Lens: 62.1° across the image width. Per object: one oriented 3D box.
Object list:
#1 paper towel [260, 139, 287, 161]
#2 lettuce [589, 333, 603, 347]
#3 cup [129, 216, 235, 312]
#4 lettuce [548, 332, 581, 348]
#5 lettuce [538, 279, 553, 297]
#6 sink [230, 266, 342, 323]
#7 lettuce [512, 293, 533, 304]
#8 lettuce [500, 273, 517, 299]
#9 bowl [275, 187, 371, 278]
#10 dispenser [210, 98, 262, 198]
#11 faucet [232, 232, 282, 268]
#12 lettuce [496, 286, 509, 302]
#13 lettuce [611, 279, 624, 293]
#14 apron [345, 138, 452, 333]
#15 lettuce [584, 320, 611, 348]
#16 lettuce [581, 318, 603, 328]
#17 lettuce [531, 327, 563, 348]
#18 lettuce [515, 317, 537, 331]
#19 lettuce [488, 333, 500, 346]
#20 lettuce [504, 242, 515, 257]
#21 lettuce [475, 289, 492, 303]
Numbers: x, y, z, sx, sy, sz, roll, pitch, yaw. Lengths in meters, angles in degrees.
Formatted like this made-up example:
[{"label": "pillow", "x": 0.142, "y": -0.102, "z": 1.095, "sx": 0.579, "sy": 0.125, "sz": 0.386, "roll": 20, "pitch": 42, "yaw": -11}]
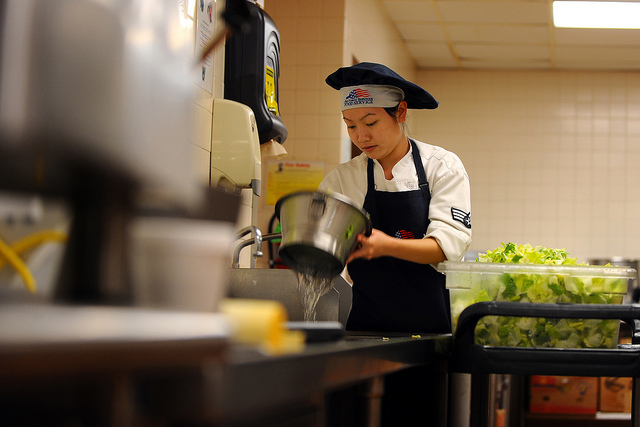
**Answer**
[{"label": "paper towel", "x": -0.226, "y": -0.310, "z": 2.576, "sx": 0.106, "sy": 0.081, "sz": 0.064, "roll": 1, "pitch": -3, "yaw": 0}, {"label": "lettuce", "x": 0.654, "y": 0.299, "z": 1.257, "sx": 0.026, "sy": 0.027, "sz": 0.033, "roll": 4, "pitch": -14, "yaw": 3}, {"label": "cup", "x": -0.109, "y": 0.033, "z": 0.397, "sx": 0.068, "sy": 0.090, "sz": 0.080, "roll": 6, "pitch": -7, "yaw": -6}, {"label": "lettuce", "x": 0.584, "y": 0.295, "z": 1.257, "sx": 0.052, "sy": 0.026, "sz": 0.038, "roll": -6, "pitch": -7, "yaw": 0}, {"label": "lettuce", "x": 0.540, "y": 0.177, "z": 1.283, "sx": 0.032, "sy": 0.014, "sz": 0.036, "roll": 49, "pitch": 2, "yaw": -34}, {"label": "sink", "x": -0.068, "y": 0.194, "z": 1.301, "sx": 0.279, "sy": 0.193, "sz": 0.146, "roll": 0, "pitch": 0, "yaw": 41}, {"label": "lettuce", "x": 0.496, "y": 0.207, "z": 1.290, "sx": 0.027, "sy": 0.027, "sz": 0.034, "roll": -1, "pitch": 5, "yaw": 2}, {"label": "lettuce", "x": 0.463, "y": 0.176, "z": 1.297, "sx": 0.052, "sy": 0.022, "sz": 0.045, "roll": 28, "pitch": -25, "yaw": 50}, {"label": "bowl", "x": 0.001, "y": 0.054, "z": 1.291, "sx": 0.236, "sy": 0.189, "sz": 0.188, "roll": 5, "pitch": -1, "yaw": 7}, {"label": "dispenser", "x": -0.356, "y": -0.326, "z": 2.281, "sx": 0.229, "sy": 0.443, "sz": 0.207, "roll": 8, "pitch": 30, "yaw": 3}, {"label": "faucet", "x": -0.246, "y": 0.130, "z": 1.789, "sx": 0.035, "sy": 0.087, "sz": 0.167, "roll": 4, "pitch": 3, "yaw": 22}, {"label": "lettuce", "x": 0.449, "y": 0.201, "z": 1.305, "sx": 0.032, "sy": 0.030, "sz": 0.028, "roll": -2, "pitch": -6, "yaw": 12}, {"label": "lettuce", "x": 0.715, "y": 0.173, "z": 1.273, "sx": 0.025, "sy": 0.029, "sz": 0.032, "roll": -2, "pitch": -15, "yaw": 7}, {"label": "apron", "x": 0.303, "y": 0.068, "z": 1.863, "sx": 0.383, "sy": 0.571, "sz": 0.243, "roll": 5, "pitch": -1, "yaw": 2}, {"label": "lettuce", "x": 0.654, "y": 0.277, "z": 1.264, "sx": 0.035, "sy": 0.069, "sz": 0.040, "roll": 0, "pitch": 22, "yaw": -31}, {"label": "lettuce", "x": 0.635, "y": 0.256, "z": 1.245, "sx": 0.033, "sy": 0.017, "sz": 0.039, "roll": 3, "pitch": -24, "yaw": 1}, {"label": "lettuce", "x": 0.539, "y": 0.295, "z": 1.268, "sx": 0.061, "sy": 0.043, "sz": 0.023, "roll": -23, "pitch": 22, "yaw": 10}, {"label": "lettuce", "x": 0.488, "y": 0.259, "z": 1.255, "sx": 0.038, "sy": 0.029, "sz": 0.032, "roll": -9, "pitch": -11, "yaw": 39}, {"label": "lettuce", "x": 0.426, "y": 0.308, "z": 1.299, "sx": 0.028, "sy": 0.026, "sz": 0.027, "roll": 8, "pitch": -10, "yaw": -41}, {"label": "lettuce", "x": 0.518, "y": 0.098, "z": 1.442, "sx": 0.027, "sy": 0.032, "sz": 0.033, "roll": 6, "pitch": -41, "yaw": 8}, {"label": "lettuce", "x": 0.409, "y": 0.207, "z": 1.334, "sx": 0.030, "sy": 0.023, "sz": 0.028, "roll": -4, "pitch": -13, "yaw": 9}]
